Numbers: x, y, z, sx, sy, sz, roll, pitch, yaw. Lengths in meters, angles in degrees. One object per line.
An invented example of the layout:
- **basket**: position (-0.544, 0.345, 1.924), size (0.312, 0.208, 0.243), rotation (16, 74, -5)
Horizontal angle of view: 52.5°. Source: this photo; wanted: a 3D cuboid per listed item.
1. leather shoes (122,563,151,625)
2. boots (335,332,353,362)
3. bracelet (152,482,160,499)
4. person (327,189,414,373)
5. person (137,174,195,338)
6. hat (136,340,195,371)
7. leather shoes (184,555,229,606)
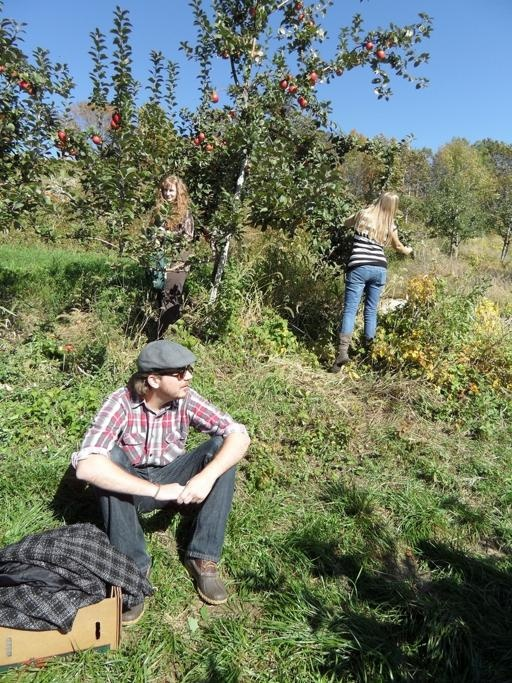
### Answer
- **leather shoes**: position (-0.571, 1.221, 2.484), size (0.078, 0.088, 0.222), rotation (10, 32, 6)
- **boots**: position (0.834, 0.073, 4.979), size (0.126, 0.305, 0.118), rotation (10, 9, 9)
- **bracelet**: position (-0.467, 0.703, 2.426), size (0.020, 0.052, 0.040), rotation (5, -6, -20)
- **person**: position (1.082, -0.577, 5.098), size (0.476, 1.763, 0.625), rotation (11, 9, 11)
- **person**: position (-0.788, -0.715, 4.640), size (0.371, 1.557, 1.481), rotation (8, 9, -8)
- **hat**: position (-0.441, 0.071, 2.528), size (0.196, 0.079, 0.183), rotation (-4, 18, -14)
- **leather shoes**: position (-0.242, 1.217, 2.668), size (0.182, 0.180, 0.254), rotation (4, 10, -27)
